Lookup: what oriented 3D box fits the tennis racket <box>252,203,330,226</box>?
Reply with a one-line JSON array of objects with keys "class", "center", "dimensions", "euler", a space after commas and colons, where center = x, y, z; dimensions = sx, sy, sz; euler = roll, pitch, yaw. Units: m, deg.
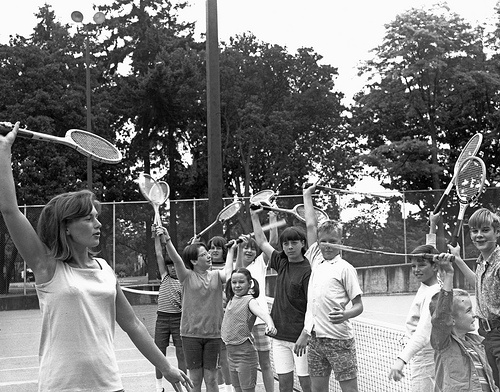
[{"class": "tennis racket", "center": [0.578, 0.186, 7.680], "dimensions": [0.867, 0.055, 0.411], "euler": [7, -12, -1]}]

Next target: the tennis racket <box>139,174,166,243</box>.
[{"class": "tennis racket", "center": [-1.268, 0.027, 7.917], "dimensions": [0.348, 0.121, 0.992], "euler": [15, 30, -24]}]
